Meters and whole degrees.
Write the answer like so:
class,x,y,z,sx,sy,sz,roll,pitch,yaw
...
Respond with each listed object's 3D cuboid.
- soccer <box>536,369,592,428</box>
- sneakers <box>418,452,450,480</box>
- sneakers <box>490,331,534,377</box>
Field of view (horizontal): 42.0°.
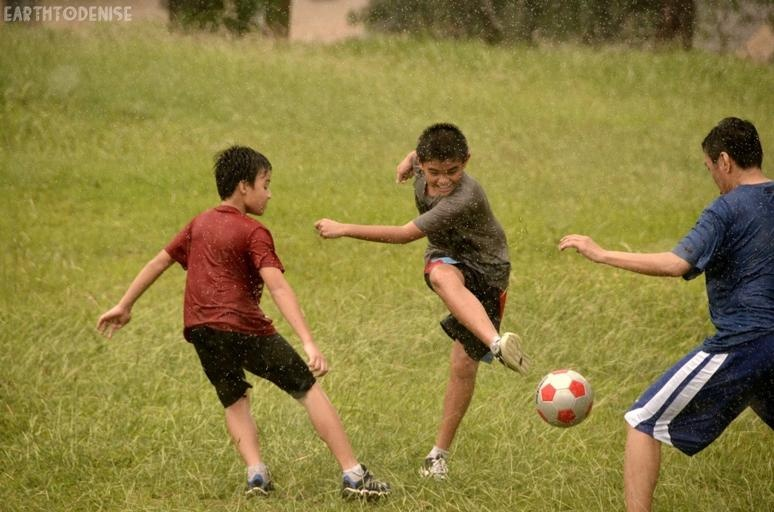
class,x,y,z,sx,sy,sz,roll,pitch,yaw
soccer,1.829,1.424,10.376,0.543,0.570,0.555,29,3,22
sneakers,0.519,2.204,10.582,0.262,0.277,0.097,10,-17,5
sneakers,1.278,1.005,10.128,0.182,0.488,0.292,-14,35,39
